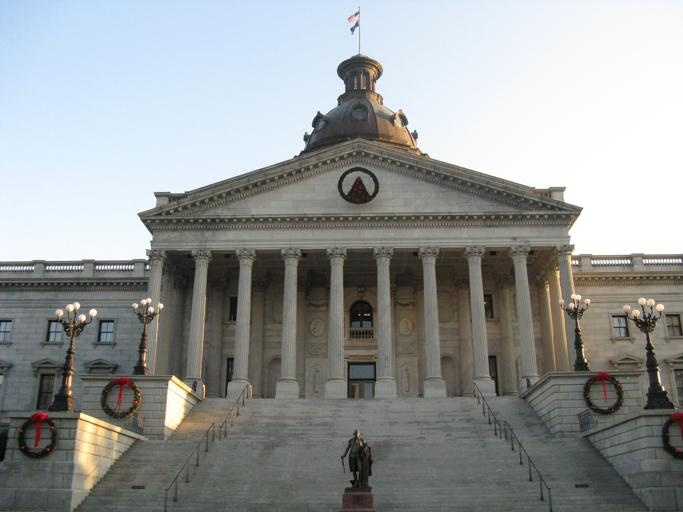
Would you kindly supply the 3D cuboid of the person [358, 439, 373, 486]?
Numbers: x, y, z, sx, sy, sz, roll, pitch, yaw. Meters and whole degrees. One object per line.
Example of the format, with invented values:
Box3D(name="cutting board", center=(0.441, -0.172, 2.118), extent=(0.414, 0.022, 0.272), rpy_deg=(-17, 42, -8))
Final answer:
Box3D(name="person", center=(0.850, 7.552, 21.357), extent=(0.310, 1.597, 0.616), rpy_deg=(-9, -21, 25))
